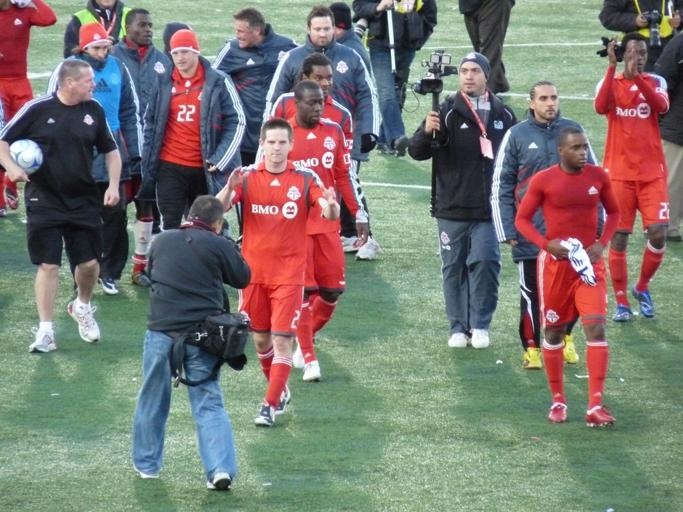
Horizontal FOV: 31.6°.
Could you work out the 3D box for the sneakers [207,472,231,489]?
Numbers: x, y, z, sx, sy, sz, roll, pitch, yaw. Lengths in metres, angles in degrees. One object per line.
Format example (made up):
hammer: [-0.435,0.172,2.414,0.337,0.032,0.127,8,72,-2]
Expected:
sneakers: [-0.907,1.670,8.979,0.174,0.179,0.154,0,10,-7]

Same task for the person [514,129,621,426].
person: [1.975,0.163,10.202,1.035,2.374,0.906,0,1,36]

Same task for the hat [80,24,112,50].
hat: [-2.455,-2.196,11.993,0.296,0.210,0.275,5,20,11]

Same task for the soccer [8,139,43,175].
soccer: [-2.835,-0.906,10.884,0.316,0.318,0.299,13,27,16]

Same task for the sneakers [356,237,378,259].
sneakers: [0.281,-0.066,13.580,0.138,0.157,0.362,2,10,16]

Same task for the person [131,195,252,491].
person: [-1.115,0.635,9.058,0.818,2.109,0.612,3,10,7]

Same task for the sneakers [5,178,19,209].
sneakers: [-3.832,-0.733,14.066,0.146,0.331,0.128,-10,9,33]

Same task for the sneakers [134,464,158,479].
sneakers: [-1.497,1.640,9.192,0.233,0.091,0.079,5,7,38]

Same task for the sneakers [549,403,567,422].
sneakers: [1.778,1.308,10.057,0.112,0.086,0.187,0,52,20]

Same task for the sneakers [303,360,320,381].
sneakers: [-0.264,1.024,10.661,0.216,0.187,0.126,-5,-2,18]

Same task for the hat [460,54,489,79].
hat: [1.267,-1.800,11.384,0.201,0.229,0.427,7,11,31]

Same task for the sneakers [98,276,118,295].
sneakers: [-2.368,0.321,12.472,0.275,0.106,0.110,40,13,28]

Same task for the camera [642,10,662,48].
camera: [3.553,-2.622,13.794,0.205,0.389,0.161,3,52,24]

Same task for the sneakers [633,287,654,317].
sneakers: [3.030,0.469,12.247,0.132,0.133,0.330,-11,58,-6]

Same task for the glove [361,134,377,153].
glove: [0.269,-1.194,12.620,0.176,0.162,0.172,14,21,15]

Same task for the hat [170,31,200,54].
hat: [-1.542,-2.103,11.843,0.254,0.194,0.268,2,14,22]

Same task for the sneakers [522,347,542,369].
sneakers: [1.737,0.941,11.024,0.108,0.112,0.266,1,7,5]

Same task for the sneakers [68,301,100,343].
sneakers: [-2.426,0.628,11.371,0.381,0.168,0.146,50,40,14]

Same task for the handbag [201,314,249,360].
handbag: [-0.865,0.596,8.931,0.389,0.319,0.280,0,6,-5]

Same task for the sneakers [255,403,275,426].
sneakers: [-0.630,1.284,9.943,0.176,0.218,0.255,1,10,-4]

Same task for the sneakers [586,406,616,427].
sneakers: [2.102,1.323,9.953,0.256,0.146,0.138,-2,5,30]

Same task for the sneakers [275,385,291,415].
sneakers: [-0.488,1.219,10.203,0.097,0.120,0.269,16,45,-1]

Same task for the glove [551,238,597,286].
glove: [1.916,0.032,9.837,0.402,0.238,0.119,45,19,12]
